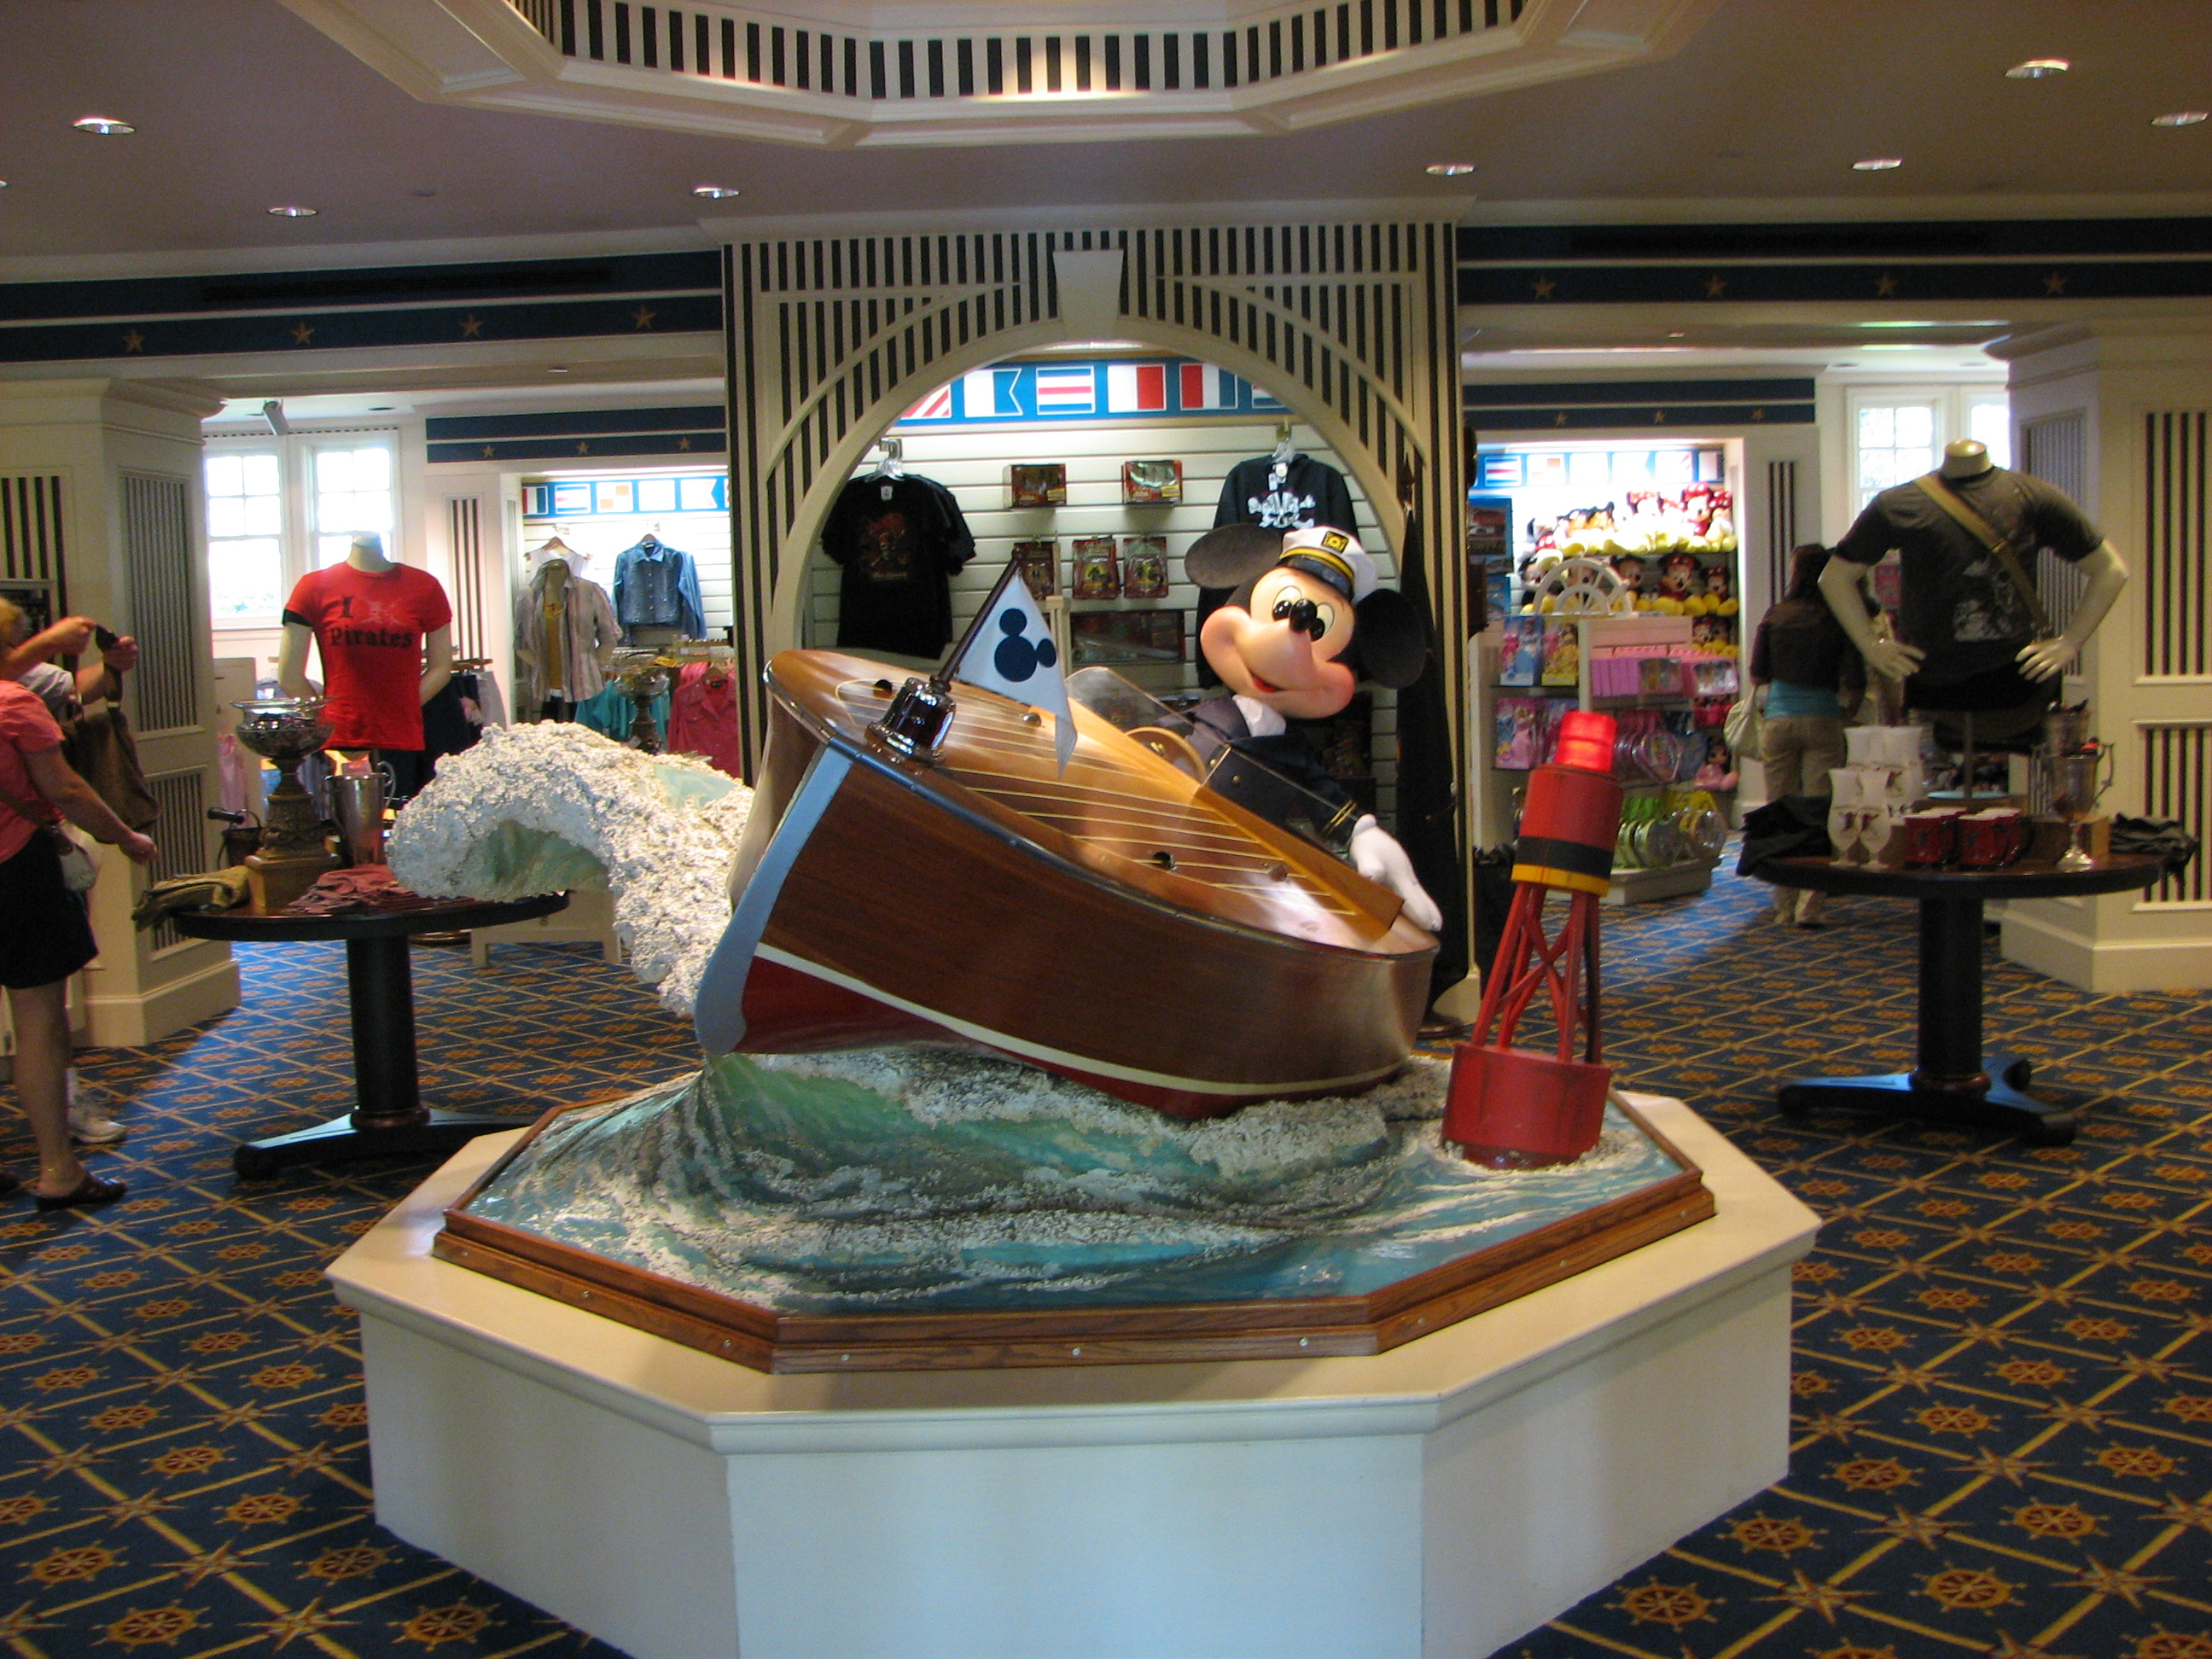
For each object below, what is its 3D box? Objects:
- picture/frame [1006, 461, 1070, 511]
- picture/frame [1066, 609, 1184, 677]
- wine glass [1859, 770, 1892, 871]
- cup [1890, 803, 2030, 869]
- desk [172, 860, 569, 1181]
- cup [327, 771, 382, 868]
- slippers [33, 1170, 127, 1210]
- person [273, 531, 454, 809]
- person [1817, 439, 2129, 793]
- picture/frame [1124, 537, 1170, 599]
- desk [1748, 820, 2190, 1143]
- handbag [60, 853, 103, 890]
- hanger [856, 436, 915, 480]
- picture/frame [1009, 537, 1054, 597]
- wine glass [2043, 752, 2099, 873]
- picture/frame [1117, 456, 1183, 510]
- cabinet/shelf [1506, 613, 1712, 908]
[{"bbox_3d":[-0.361,-1.836,8.510,0.487,0.235,0.222,0,1,0],"label":"picture/frame"},{"bbox_3d":[0.123,-1.015,8.516,0.816,0.387,0.369,0,0,1],"label":"picture/frame"},{"bbox_3d":[2.279,-0.042,4.692,0.080,0.261,0.122,3,11,24],"label":"wine glass"},{"bbox_3d":[2.487,0.019,4.636,0.254,0.109,0.408,1,2,22],"label":"cup"},{"bbox_3d":[-2.316,0.551,5.096,1.309,0.667,1.092,0,2,-3],"label":"desk"},{"bbox_3d":[-2.354,-0.059,5.005,0.143,0.298,0.177,-5,11,-22],"label":"cup"},{"bbox_3d":[-2.945,1.020,4.592,0.268,0.075,0.088,-1,8,-25],"label":"slippers"},{"bbox_3d":[-3.180,-0.704,6.838,0.677,1.107,0.518,-6,11,-27],"label":"person"},{"bbox_3d":[2.983,-0.803,5.476,0.910,1.033,0.627,-8,12,-34],"label":"person"},{"bbox_3d":[0.217,-1.394,8.500,0.234,0.318,0.080,-1,11,-1],"label":"picture/frame"},{"bbox_3d":[2.661,0.457,4.828,1.295,0.849,0.712,-3,10,-14],"label":"desk"},{"bbox_3d":[-3.148,0.112,4.829,0.093,0.109,0.114,-12,-7,-16],"label":"handbag"},{"bbox_3d":[-1.197,-1.979,8.498,0.272,0.113,0.326,0,5,-1],"label":"hanger"},{"bbox_3d":[-0.383,-1.386,8.505,0.210,0.298,0.259,-1,10,-1],"label":"picture/frame"},{"bbox_3d":[2.855,-0.066,4.685,0.150,0.322,0.309,5,11,29],"label":"wine glass"},{"bbox_3d":[0.248,-1.836,8.446,0.332,0.162,0.277,-1,4,-2],"label":"picture/frame"},{"bbox_3d":[3.043,-0.517,9.681,0.716,1.540,1.919,-23,-8,25],"label":"cabinet/shelf"}]
